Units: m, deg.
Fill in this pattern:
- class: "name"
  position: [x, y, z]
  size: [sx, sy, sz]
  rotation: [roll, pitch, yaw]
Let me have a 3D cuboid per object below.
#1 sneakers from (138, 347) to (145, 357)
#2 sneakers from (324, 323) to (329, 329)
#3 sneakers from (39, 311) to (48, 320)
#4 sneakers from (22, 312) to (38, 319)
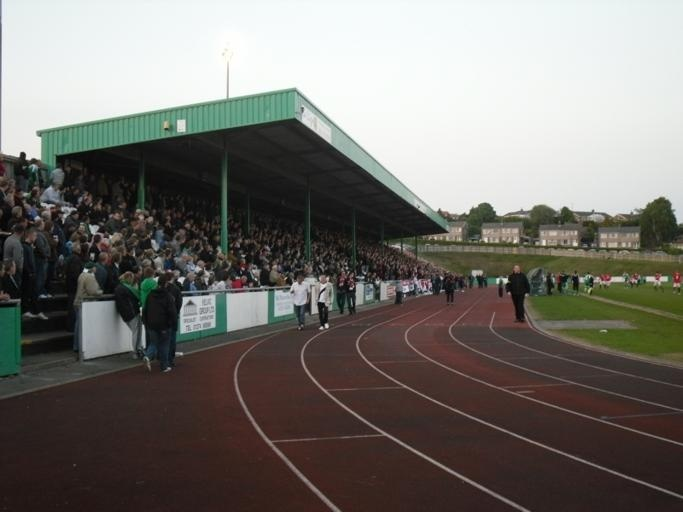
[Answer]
- class: "sneakers"
  position: [-4.724, 2.277, 15.113]
  size: [0.190, 0.227, 0.363]
  rotation: [0, 3, -24]
- class: "sneakers"
  position: [-0.526, 2.418, 22.394]
  size: [0.102, 0.202, 0.194]
  rotation: [-1, -8, 2]
- class: "sneakers"
  position: [-6.967, 1.382, 15.017]
  size: [0.192, 0.186, 0.394]
  rotation: [0, 3, -23]
- class: "sneakers"
  position: [-7.122, 1.341, 14.684]
  size: [0.173, 0.106, 0.143]
  rotation: [6, -1, -7]
